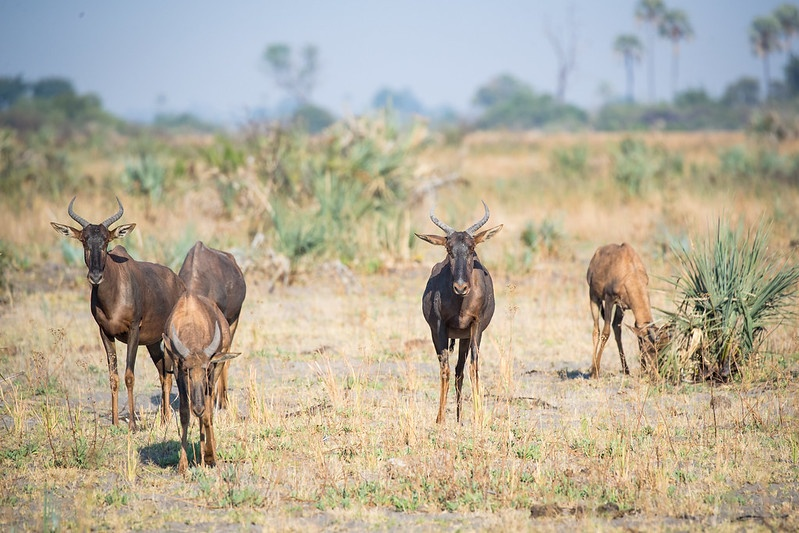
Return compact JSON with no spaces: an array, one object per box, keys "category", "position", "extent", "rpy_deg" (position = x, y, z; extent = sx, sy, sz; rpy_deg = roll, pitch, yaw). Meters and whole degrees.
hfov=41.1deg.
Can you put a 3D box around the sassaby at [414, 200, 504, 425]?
[{"category":"sassaby","position":[1.005,0.770,18.737],"extent":[1.269,3.584,1.595],"rpy_deg":[-2,-1,-8]}]
